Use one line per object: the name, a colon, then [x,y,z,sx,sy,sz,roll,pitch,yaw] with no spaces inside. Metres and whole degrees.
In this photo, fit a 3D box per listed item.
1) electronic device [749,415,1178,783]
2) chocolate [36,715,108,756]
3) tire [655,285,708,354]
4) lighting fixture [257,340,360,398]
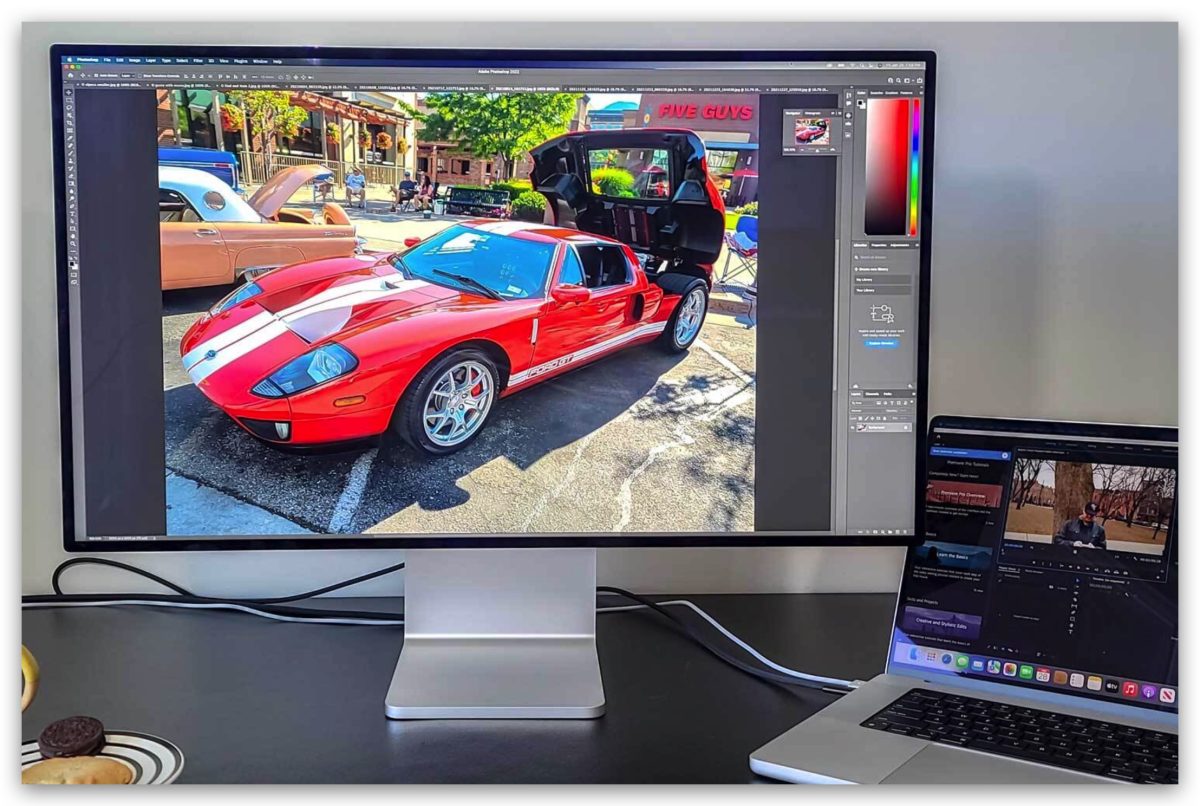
electronic device: [0.636,0.294,1.368,0.542,0.418,0.595,3,6,31]
chocolate: [-0.769,0.488,1.243,0.085,0.035,0.072,9,14,33]
tire: [0.134,-0.135,1.368,0.101,0.094,0.035,-8,24,-29]
lighting fixture: [-0.441,-0.051,1.299,0.131,0.068,0.025,-25,-3,1]
